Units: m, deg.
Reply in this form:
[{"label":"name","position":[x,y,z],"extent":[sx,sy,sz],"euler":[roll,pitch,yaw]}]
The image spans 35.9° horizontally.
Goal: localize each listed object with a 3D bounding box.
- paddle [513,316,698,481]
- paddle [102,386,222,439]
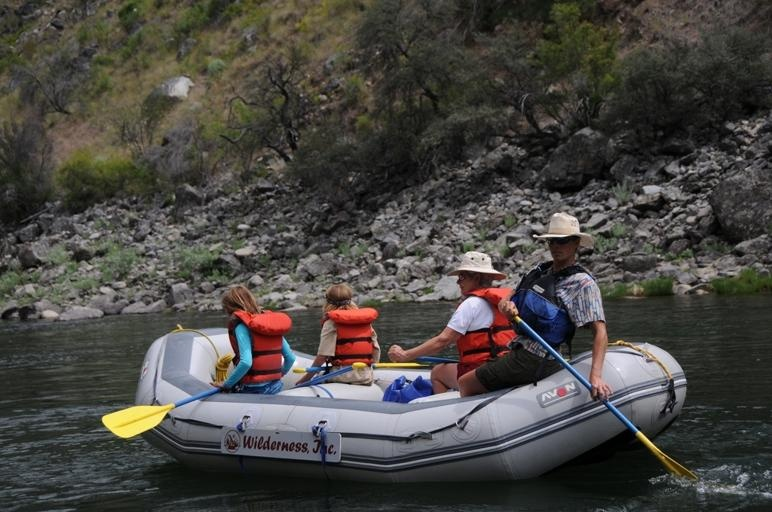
[{"label":"paddle","position":[6.614,4.566,36.468],"extent":[0.445,6.913,1.006],"euler":[-45,-9,-46]},{"label":"paddle","position":[-6.566,4.571,36.798],"extent":[4.510,1.106,0.276],"euler":[-23,31,13]}]
